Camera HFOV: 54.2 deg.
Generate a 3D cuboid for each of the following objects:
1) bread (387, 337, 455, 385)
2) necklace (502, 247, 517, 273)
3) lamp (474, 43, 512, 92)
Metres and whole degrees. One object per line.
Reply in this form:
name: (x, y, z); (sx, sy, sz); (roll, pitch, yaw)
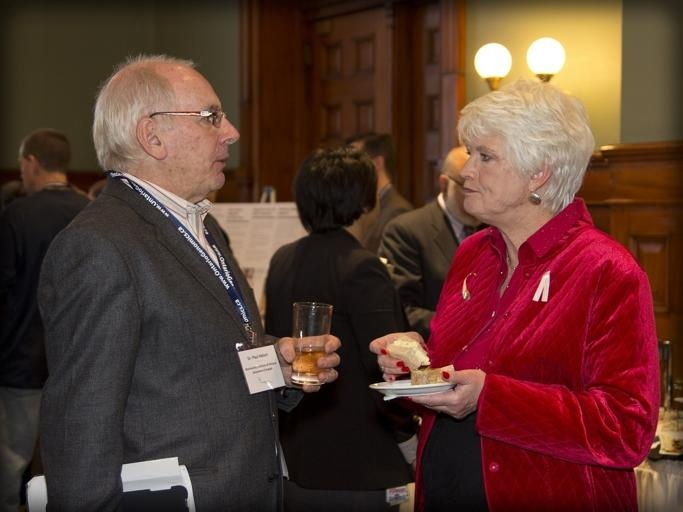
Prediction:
bread: (0.218, 0.309, 1.978); (0.151, 0.059, 0.110); (6, 0, 33)
necklace: (0.547, 0.013, 2.180); (0.053, 0.068, 0.060); (-4, -29, -1)
lamp: (1.001, -1.225, 4.443); (0.151, 0.220, 0.143); (-22, 29, -2)
